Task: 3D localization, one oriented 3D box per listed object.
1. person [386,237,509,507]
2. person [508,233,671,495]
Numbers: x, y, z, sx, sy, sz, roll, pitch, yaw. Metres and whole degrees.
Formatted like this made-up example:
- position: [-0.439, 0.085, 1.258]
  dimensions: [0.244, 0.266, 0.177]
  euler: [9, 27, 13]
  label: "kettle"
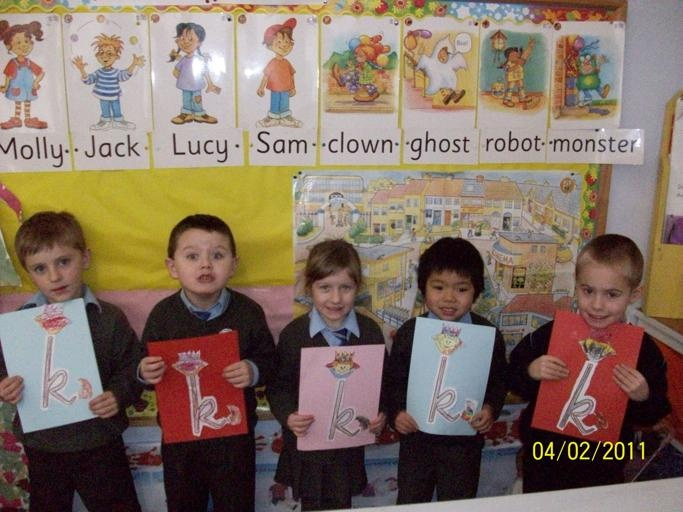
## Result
- position: [0.423, 0.534, 2.265]
  dimensions: [0.475, 1.191, 0.417]
  euler: [2, 10, 12]
  label: "person"
- position: [0.972, 0.468, 2.191]
  dimensions: [0.608, 1.106, 0.356]
  euler: [2, 10, 14]
  label: "person"
